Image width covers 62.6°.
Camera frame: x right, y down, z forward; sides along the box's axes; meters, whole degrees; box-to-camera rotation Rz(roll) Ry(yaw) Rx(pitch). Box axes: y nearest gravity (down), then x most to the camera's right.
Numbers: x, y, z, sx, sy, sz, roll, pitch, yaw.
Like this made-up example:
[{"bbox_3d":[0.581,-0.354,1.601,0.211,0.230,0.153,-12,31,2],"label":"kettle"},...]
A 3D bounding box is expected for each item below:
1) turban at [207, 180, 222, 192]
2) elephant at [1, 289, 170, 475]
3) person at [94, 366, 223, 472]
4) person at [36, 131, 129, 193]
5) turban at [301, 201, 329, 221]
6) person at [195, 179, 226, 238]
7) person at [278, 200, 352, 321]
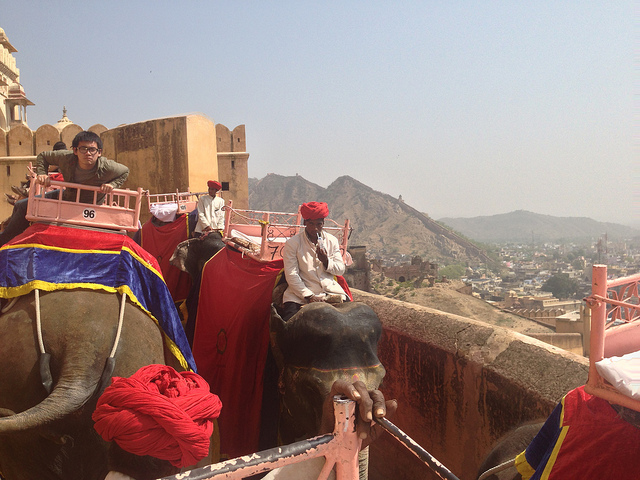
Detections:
[{"bbox_3d":[-1.697,-0.870,8.422,0.178,0.150,0.409,2,4,-5],"label":"turban"},{"bbox_3d":[-1.892,0.825,4.126,0.796,0.939,1.735,3,29,-18],"label":"elephant"},{"bbox_3d":[-0.962,1.035,3.127,0.694,0.410,0.474,3,4,2],"label":"person"},{"bbox_3d":[-2.223,-0.709,4.763,0.764,0.533,0.349,3,4,1],"label":"person"},{"bbox_3d":[-0.030,-0.270,4.851,0.260,0.166,0.341,3,4,-2],"label":"turban"},{"bbox_3d":[-1.689,-0.486,8.027,0.448,0.866,1.316,2,4,-12],"label":"person"},{"bbox_3d":[-0.041,0.264,4.894,0.658,1.261,0.777,8,12,32],"label":"person"}]
